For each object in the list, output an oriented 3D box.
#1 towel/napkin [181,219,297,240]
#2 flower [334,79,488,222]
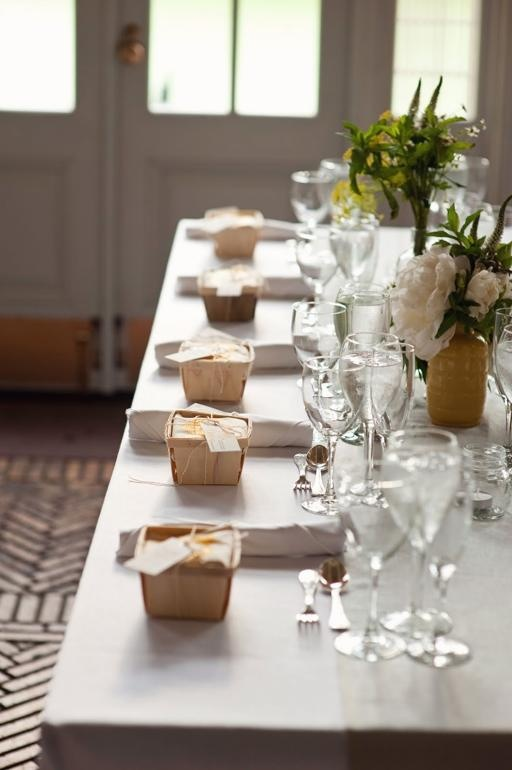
[{"bbox_3d":[-0.061,-0.492,2.228,0.257,0.055,0.243,-1,11,-10],"label":"towel/napkin"},{"bbox_3d":[0.274,-0.421,1.231,0.171,0.188,0.207,-1,26,13],"label":"flower"}]
